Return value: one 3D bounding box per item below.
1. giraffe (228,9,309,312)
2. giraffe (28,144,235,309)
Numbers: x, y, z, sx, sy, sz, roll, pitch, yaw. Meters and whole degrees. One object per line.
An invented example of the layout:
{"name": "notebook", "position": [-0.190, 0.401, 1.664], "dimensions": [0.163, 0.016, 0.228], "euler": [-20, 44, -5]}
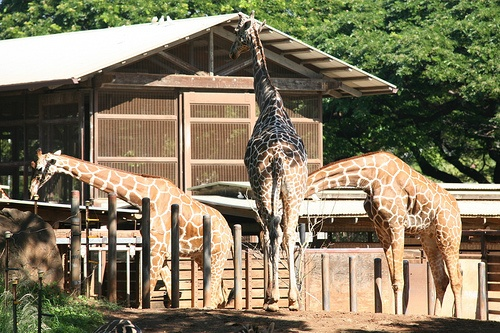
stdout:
{"name": "giraffe", "position": [0.652, -0.353, 39.494], "dimensions": [1.613, 9.600, 2.165], "euler": [4, -9, -25]}
{"name": "giraffe", "position": [-3.918, 2.206, 42.436], "dimensions": [6.628, 5.025, 6.993], "euler": [1, -8, -6]}
